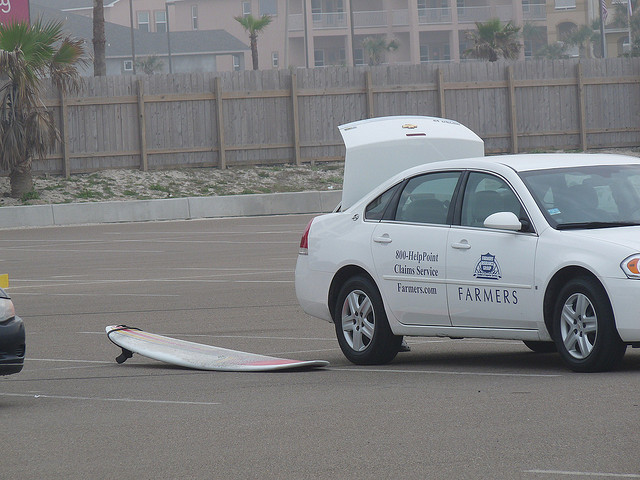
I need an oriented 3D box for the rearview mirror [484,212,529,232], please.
[{"bbox_3d":[1.722,-0.171,7.430,0.276,0.127,0.212,5,5,-8],"label":"rearview mirror"}]
